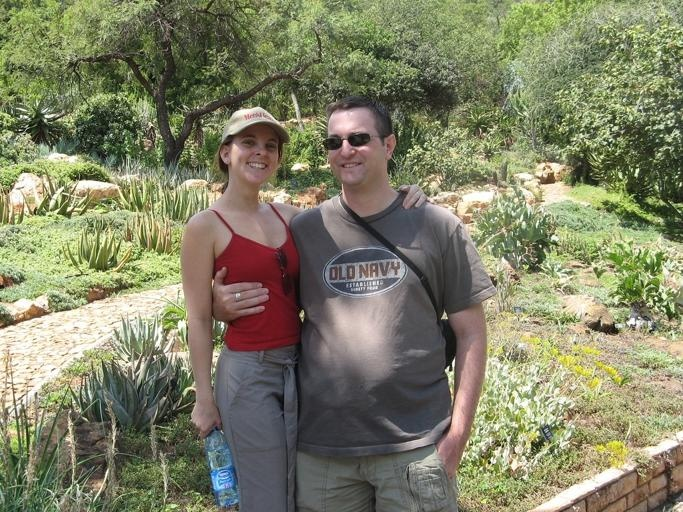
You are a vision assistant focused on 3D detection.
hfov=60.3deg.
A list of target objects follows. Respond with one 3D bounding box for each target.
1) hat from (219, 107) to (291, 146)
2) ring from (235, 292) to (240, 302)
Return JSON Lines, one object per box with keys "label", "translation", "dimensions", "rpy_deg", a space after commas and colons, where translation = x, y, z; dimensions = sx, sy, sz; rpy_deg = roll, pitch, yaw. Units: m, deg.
{"label": "hat", "translation": [-0.588, -0.945, 4.224], "dimensions": [0.377, 0.267, 0.525], "rpy_deg": [-1, 2, -11]}
{"label": "ring", "translation": [-0.687, 0.263, 3.923], "dimensions": [0.038, 0.041, 0.012], "rpy_deg": [-7, -9, 35]}
